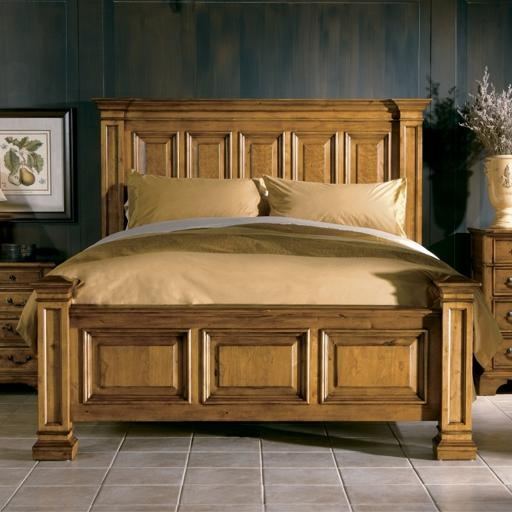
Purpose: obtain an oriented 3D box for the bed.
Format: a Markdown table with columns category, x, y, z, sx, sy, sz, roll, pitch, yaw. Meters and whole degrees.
| category | x | y | z | sx | sy | sz | roll | pitch | yaw |
| --- | --- | --- | --- | --- | --- | --- | --- | --- | --- |
| bed | 0.016 | -0.023 | 5.304 | 2.046 | 1.598 | 1.999 | 0 | 12 | 1 |
